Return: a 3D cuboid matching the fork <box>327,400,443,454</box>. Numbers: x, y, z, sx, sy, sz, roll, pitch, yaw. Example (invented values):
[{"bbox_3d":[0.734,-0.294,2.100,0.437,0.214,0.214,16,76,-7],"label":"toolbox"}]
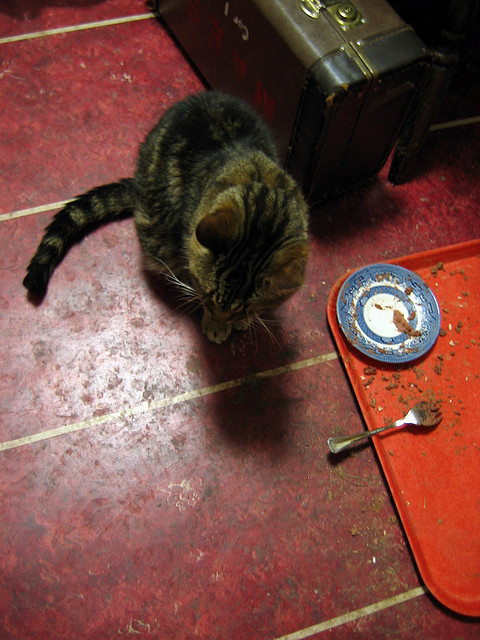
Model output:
[{"bbox_3d":[0.352,0.266,1.291,0.289,0.090,0.059,-11,58,-22],"label":"fork"}]
